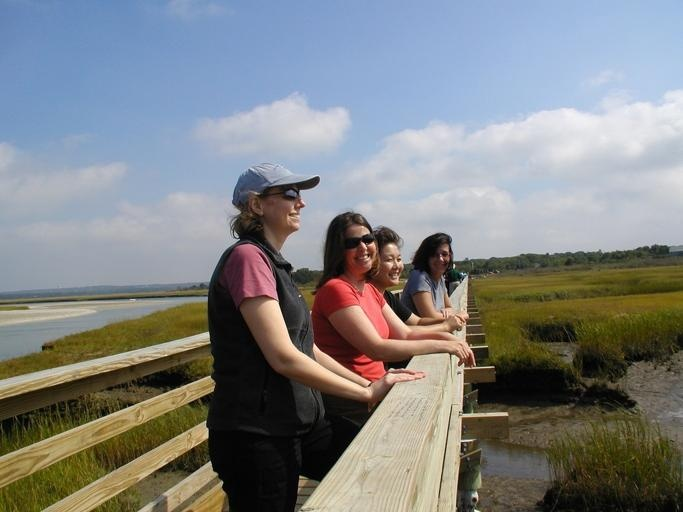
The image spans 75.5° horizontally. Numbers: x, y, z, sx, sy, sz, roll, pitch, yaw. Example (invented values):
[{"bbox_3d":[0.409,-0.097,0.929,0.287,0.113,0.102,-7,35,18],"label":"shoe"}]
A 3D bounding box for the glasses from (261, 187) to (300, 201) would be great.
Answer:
[{"bbox_3d":[-0.312,-0.350,2.504,0.288,0.086,0.220,-4,7,-9],"label":"glasses"}]
